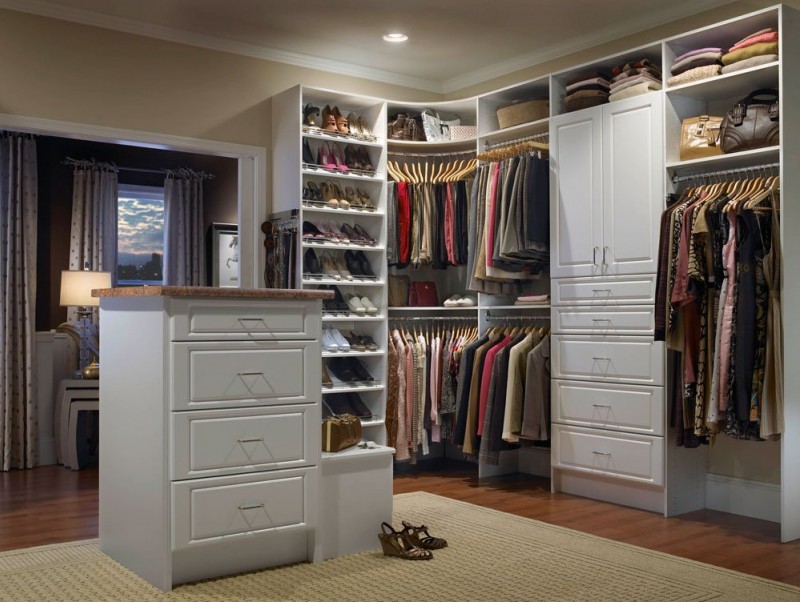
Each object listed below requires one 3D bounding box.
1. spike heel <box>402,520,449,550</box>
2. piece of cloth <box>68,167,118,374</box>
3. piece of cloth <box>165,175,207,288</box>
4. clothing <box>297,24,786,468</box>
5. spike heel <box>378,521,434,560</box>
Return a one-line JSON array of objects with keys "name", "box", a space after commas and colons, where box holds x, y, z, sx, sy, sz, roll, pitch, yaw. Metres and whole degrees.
[{"name": "spike heel", "box": [0.122, 1.236, 3.307, 0.106, 0.086, 0.265, 1, -2, -36]}, {"name": "piece of cloth", "box": [-3.329, -0.410, 6.823, 0.504, 2.271, 0.140, -4, 14, -45]}, {"name": "piece of cloth", "box": [-2.539, -0.881, 7.400, 0.512, 1.381, 0.264, -2, 2, -15]}, {"name": "clothing", "box": [0.973, -0.357, 4.317, 0.494, 2.570, 3.305, 3, -3, -43]}, {"name": "spike heel", "box": [0.028, 1.198, 3.179, 0.281, 0.164, 0.137, -1, -3, 17]}]
